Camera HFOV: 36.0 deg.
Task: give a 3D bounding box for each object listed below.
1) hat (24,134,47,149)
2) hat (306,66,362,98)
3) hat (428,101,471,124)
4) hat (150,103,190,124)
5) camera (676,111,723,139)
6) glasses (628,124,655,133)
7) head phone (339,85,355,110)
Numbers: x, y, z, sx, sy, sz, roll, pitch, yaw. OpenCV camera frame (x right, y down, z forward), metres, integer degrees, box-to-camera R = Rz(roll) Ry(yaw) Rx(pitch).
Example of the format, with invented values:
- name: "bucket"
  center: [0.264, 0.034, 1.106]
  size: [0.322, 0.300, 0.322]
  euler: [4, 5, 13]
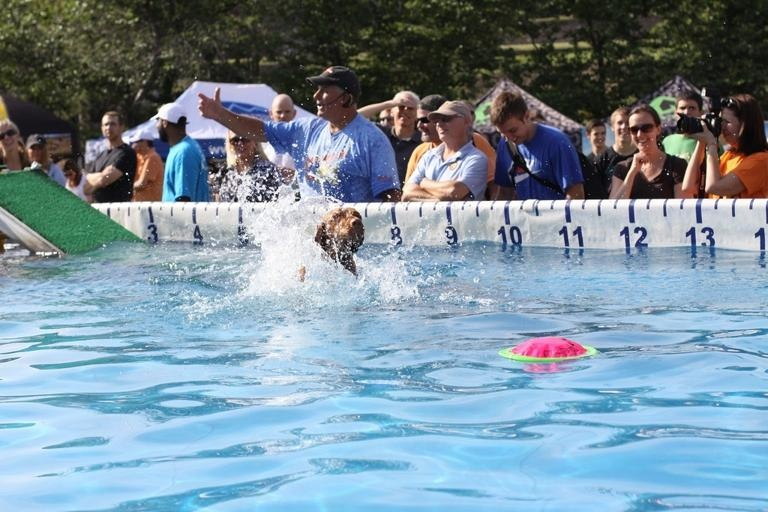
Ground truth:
- name: "hat"
  center: [-4.519, -1.472, 15.386]
  size: [0.222, 0.134, 0.275]
  euler: [-12, -13, -2]
- name: "hat"
  center: [-0.495, -1.701, 11.620]
  size: [0.457, 0.189, 0.294]
  euler: [11, 5, -14]
- name: "hat"
  center: [0.718, -1.510, 12.528]
  size: [0.363, 0.141, 0.236]
  euler: [7, -12, -26]
- name: "hat"
  center: [-2.505, -1.628, 13.682]
  size: [0.355, 0.168, 0.257]
  euler: [3, 9, 30]
- name: "camera"
  center: [3.145, -1.295, 11.805]
  size: [0.348, 0.170, 0.301]
  euler: [2, 2, 7]
- name: "glasses"
  center: [2.664, -1.301, 12.297]
  size: [0.232, 0.088, 0.103]
  euler: [1, 5, 36]
- name: "head phone"
  center: [-0.354, -1.525, 11.601]
  size: [0.160, 0.186, 0.180]
  euler: [7, 27, 27]
